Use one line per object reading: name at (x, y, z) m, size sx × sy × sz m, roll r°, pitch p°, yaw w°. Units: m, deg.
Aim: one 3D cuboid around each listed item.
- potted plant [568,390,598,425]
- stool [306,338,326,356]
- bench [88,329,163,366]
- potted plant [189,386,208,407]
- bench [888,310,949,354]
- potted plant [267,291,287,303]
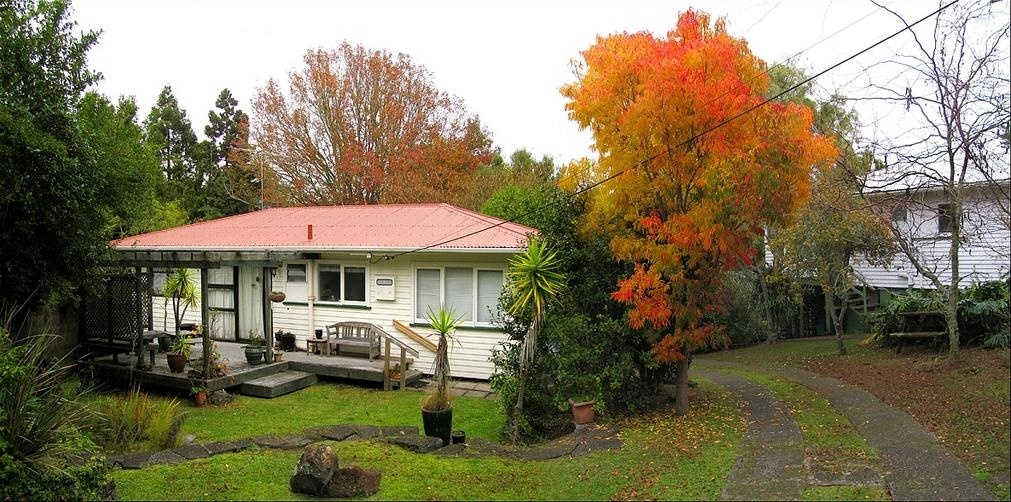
potted plant at (2.504, 5.052, 22.135) m, size 0.986 × 0.755 × 1.102 m, roll -4°, pitch 2°, yaw 6°
stool at (-7.536, 3.803, 26.713) m, size 0.742 × 0.473 × 0.675 m, roll 0°, pitch -3°, yaw 7°
bench at (-14.255, 3.728, 25.624) m, size 2.888 × 1.362 × 1.685 m, roll -5°, pitch -9°, yaw 26°
potted plant at (-10.711, 5.092, 23.634) m, size 0.682 × 0.752 × 0.701 m, roll 4°, pitch -10°, yaw -40°
bench at (15.585, 3.060, 25.510) m, size 1.291 × 1.519 × 2.567 m, roll 1°, pitch -8°, yaw -15°
potted plant at (-8.672, 1.757, 25.527) m, size 0.608 × 0.324 × 0.537 m, roll 4°, pitch -5°, yaw -16°
